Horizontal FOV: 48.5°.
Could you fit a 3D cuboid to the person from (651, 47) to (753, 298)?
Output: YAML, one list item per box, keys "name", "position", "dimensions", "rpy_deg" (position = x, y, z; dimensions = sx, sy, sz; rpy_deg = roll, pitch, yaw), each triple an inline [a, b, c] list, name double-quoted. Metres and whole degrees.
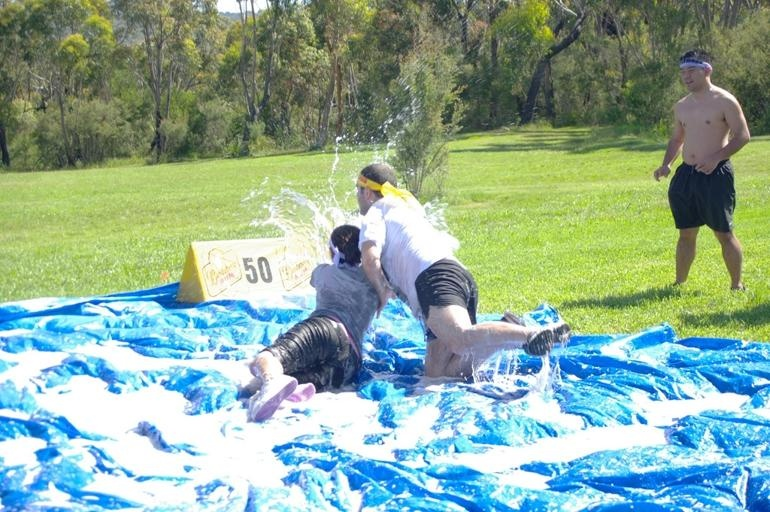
- name: "person"
  position: [4.789, -1.302, 12.979]
  dimensions: [1.277, 3.550, 0.754]
  rpy_deg: [3, 13, 25]
